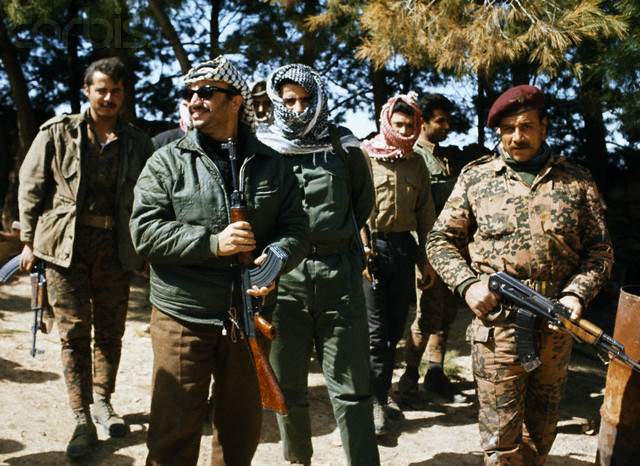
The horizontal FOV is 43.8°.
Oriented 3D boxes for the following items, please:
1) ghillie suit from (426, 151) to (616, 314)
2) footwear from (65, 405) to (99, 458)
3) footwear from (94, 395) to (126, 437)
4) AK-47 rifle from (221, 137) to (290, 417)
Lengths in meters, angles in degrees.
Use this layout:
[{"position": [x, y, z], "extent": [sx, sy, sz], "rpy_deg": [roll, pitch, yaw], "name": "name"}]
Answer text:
[{"position": [1.593, -0.036, 6.689], "extent": [1.794, 1.605, 1.065], "rpy_deg": [2, 1, 8], "name": "ghillie suit"}, {"position": [-2.032, 1.696, 6.738], "extent": [0.243, 0.299, 0.247], "rpy_deg": [3, 1, -12], "name": "footwear"}, {"position": [-1.892, 1.620, 7.018], "extent": [0.471, 0.226, 0.178], "rpy_deg": [21, 19, 36], "name": "footwear"}, {"position": [-0.501, 0.287, 5.808], "extent": [0.165, 2.172, 0.666], "rpy_deg": [-5, -2, -45], "name": "AK-47 rifle"}]
